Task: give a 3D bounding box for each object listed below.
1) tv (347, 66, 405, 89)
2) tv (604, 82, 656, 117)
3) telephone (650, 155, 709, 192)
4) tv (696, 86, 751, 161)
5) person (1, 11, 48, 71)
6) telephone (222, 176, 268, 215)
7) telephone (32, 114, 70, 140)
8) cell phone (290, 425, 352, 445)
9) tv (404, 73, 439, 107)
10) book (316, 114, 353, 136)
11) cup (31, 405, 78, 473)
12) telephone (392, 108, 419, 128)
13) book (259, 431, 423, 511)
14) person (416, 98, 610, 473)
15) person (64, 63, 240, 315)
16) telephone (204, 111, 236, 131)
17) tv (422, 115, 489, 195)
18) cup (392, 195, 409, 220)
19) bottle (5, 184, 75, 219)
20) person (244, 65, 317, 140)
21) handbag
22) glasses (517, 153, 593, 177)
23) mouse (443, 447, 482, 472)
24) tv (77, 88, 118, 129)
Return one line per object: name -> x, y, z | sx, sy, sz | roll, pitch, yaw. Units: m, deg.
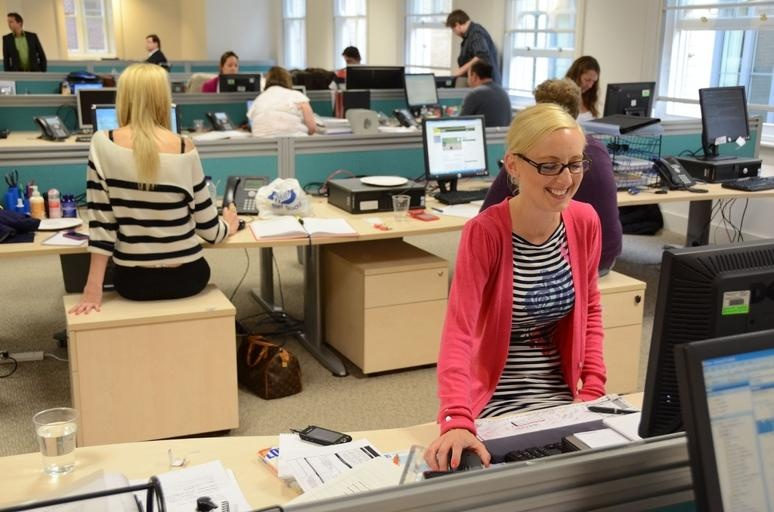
tv -> -0.122, -2.015, 6.544 | 0.665, 0.263, 0.211 | -4, 17, -8
tv -> 1.864, -1.260, 4.537 | 0.322, 0.296, 0.262 | -4, 19, 14
telephone -> 2.075, -0.574, 4.148 | 0.236, 0.115, 0.326 | -19, 46, -25
tv -> 2.584, -1.028, 4.445 | 0.549, 0.518, 0.246 | -17, 23, -41
person -> -5.709, -3.345, 9.048 | 0.609, 0.832, 0.277 | -7, 18, -19
telephone -> -0.872, -0.385, 3.423 | 0.241, 0.244, 0.096 | -1, -15, 1
telephone -> -3.141, -1.216, 5.521 | 0.308, 0.253, 0.295 | 5, 15, 19
cell phone -> -0.176, 0.498, 1.605 | 0.110, 0.032, 0.061 | 12, 14, 25
tv -> 0.375, -1.863, 6.500 | 0.396, 0.288, 0.102 | -11, 22, -27
book -> -0.512, -1.253, 5.547 | 0.304, 0.098, 0.765 | -3, 17, -7
cup -> -0.837, 0.486, 1.467 | 0.099, 0.135, 0.106 | -7, -3, 0
telephone -> 0.227, -1.422, 5.973 | 0.220, 0.172, 0.502 | -7, 18, -18
book -> -0.084, 0.532, 1.449 | 0.316, 0.045, 0.231 | -8, 18, -21
person -> 0.420, 0.042, 1.727 | 0.415, 0.944, 0.936 | 11, 21, 35
person -> -1.152, -0.331, 2.764 | 0.762, 1.126, 0.251 | -9, 19, -23
telephone -> -1.645, -1.337, 5.732 | 0.222, 0.230, 0.094 | -18, -18, -14
tv -> 0.512, -0.650, 3.858 | 0.565, 0.534, 0.330 | -13, 23, -37
cup -> 0.085, -0.294, 3.482 | 0.131, 0.141, 0.138 | 0, 5, 0
bottle -> -1.936, -0.315, 3.289 | 0.314, 0.293, 0.186 | -2, 6, -20
person -> -0.944, -1.284, 5.244 | 0.585, 0.889, 0.483 | -8, -14, 4
handbag -> -0.713, 0.673, 3.296 | 0.247, 0.279, 0.461 | 11, 8, 34
glasses -> 0.519, -0.279, 1.743 | 0.238, 0.061, 0.101 | -5, 17, -13
mouse -> 0.203, 0.517, 1.449 | 0.069, 0.019, 0.099 | 14, 23, 40
tv -> -2.634, -1.413, 5.375 | 0.400, 0.365, 0.285 | -14, -4, -29
